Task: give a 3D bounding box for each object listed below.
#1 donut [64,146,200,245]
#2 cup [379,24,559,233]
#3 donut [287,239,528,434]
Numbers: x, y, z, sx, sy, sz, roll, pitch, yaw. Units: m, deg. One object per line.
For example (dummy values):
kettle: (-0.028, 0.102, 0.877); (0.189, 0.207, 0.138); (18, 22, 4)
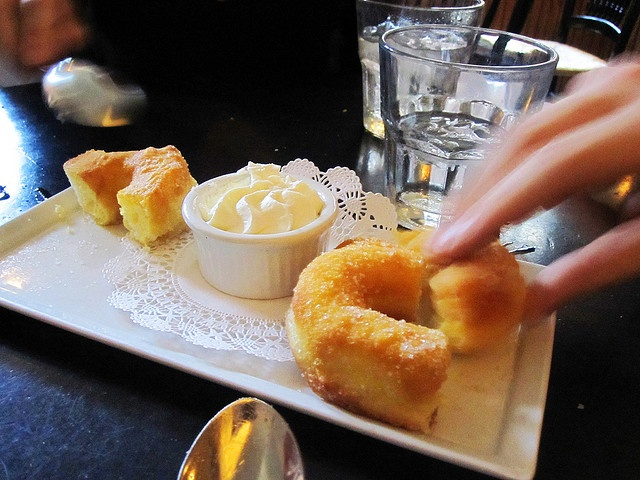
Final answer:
donut: (-0.425, -0.130, 1.249); (0.310, 0.113, 0.232); (22, 47, 31)
cup: (0.261, -0.277, 1.303); (0.450, 0.495, 0.452); (0, 40, 0)
donut: (0.133, 0.125, 0.854); (0.344, 0.124, 0.266); (-33, 44, -31)
